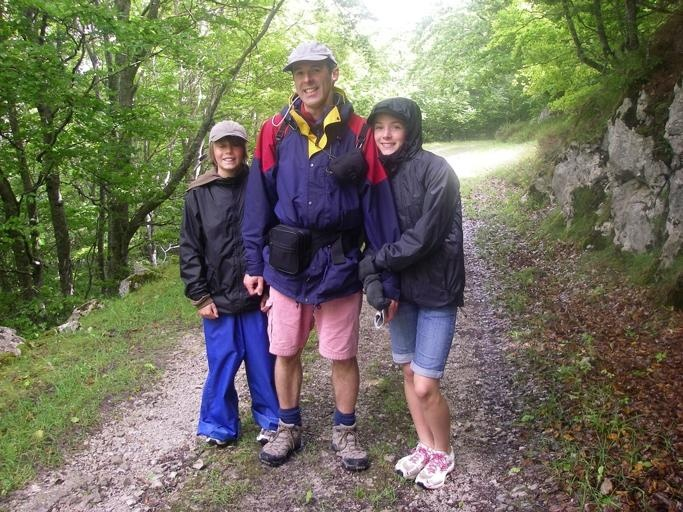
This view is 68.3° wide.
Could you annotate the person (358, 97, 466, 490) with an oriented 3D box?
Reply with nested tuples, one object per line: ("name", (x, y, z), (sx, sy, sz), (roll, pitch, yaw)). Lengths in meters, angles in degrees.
("person", (0.683, 0.341, 4.587), (0.849, 3.479, 0.676), (-3, 12, 14))

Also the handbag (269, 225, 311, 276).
("handbag", (-0.493, -0.082, 4.763), (0.381, 0.438, 0.253), (13, 26, 19))

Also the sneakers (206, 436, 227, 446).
("sneakers", (-1.313, 1.902, 5.249), (0.226, 0.103, 0.091), (4, 1, 30))

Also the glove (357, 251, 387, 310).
("glove", (0.264, 0.215, 4.479), (0.233, 0.455, 0.160), (-20, -36, 19))

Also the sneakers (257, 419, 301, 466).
("sneakers", (-0.582, 1.850, 5.071), (0.218, 0.266, 0.559), (6, 3, 27))
